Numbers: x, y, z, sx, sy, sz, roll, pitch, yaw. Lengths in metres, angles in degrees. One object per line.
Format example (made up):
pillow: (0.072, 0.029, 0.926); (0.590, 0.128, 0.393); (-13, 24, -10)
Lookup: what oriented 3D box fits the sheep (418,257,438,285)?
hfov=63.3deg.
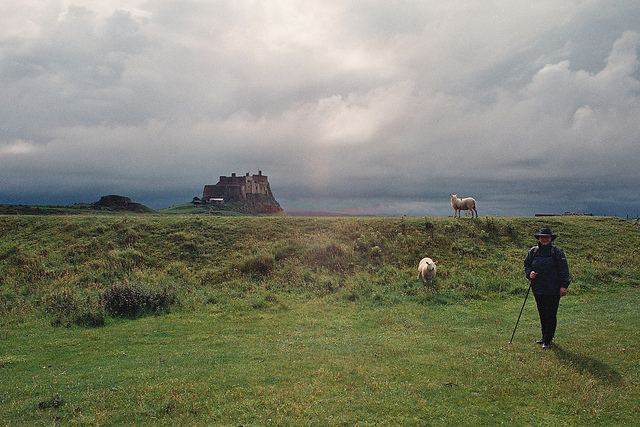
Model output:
sheep: (7.261, 3.874, 35.157); (1.131, 1.698, 1.456); (-6, 0, 8)
